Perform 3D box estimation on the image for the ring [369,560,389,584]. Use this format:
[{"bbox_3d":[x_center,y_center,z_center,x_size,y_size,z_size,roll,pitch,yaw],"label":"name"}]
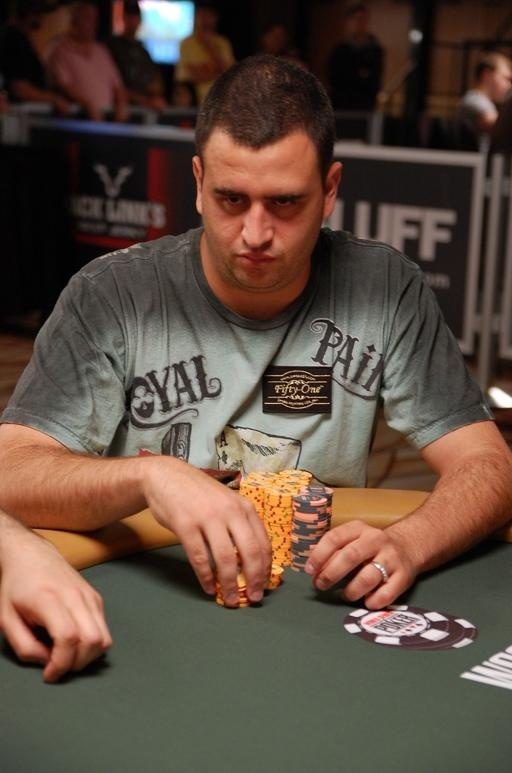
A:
[{"bbox_3d":[0.185,0.273,0.978,0.008,0.027,0.027,-27,36,-12],"label":"ring"}]
